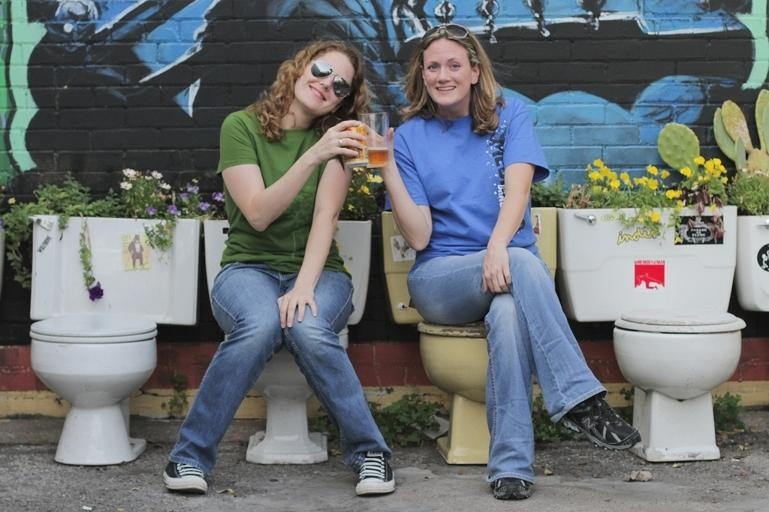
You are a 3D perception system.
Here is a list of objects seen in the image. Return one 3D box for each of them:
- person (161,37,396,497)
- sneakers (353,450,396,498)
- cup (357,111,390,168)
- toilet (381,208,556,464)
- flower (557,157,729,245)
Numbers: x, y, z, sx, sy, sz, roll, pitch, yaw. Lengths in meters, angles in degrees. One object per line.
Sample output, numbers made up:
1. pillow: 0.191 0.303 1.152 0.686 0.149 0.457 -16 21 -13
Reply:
1. person: -0.502 0.033 4.781 0.930 1.921 0.881 -1 14 -1
2. sneakers: -0.049 0.950 4.647 0.216 0.182 0.149 -6 15 -21
3. cup: -0.048 -0.492 4.570 0.100 0.245 0.137 8 16 33
4. toilet: 0.262 0.498 5.387 0.893 1.266 1.174 0 -3 -3
5. flower: 1.272 -0.274 5.357 0.579 0.254 0.575 -5 16 0
